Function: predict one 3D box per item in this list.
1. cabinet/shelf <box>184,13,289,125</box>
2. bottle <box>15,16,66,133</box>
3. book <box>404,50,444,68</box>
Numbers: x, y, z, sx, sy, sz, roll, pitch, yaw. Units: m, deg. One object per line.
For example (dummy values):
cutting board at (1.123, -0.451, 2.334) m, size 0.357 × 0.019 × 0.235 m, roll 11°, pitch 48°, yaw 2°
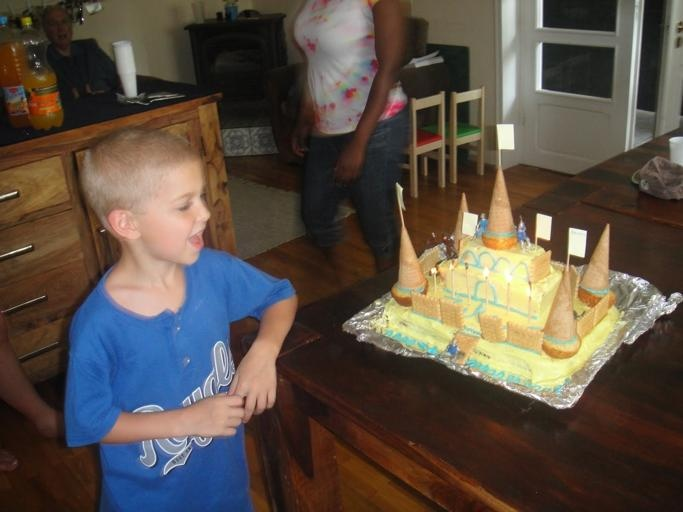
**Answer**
cabinet/shelf at (-1.260, -2.247, 6.163) m, size 1.128 × 1.005 × 0.956 m, roll 4°, pitch 27°, yaw 17°
bottle at (-1.318, -0.796, 2.255) m, size 0.141 × 0.421 × 0.535 m, roll -16°, pitch 28°, yaw -23°
book at (0.732, -1.745, 4.628) m, size 0.282 × 0.105 × 0.215 m, roll -18°, pitch 32°, yaw -10°
